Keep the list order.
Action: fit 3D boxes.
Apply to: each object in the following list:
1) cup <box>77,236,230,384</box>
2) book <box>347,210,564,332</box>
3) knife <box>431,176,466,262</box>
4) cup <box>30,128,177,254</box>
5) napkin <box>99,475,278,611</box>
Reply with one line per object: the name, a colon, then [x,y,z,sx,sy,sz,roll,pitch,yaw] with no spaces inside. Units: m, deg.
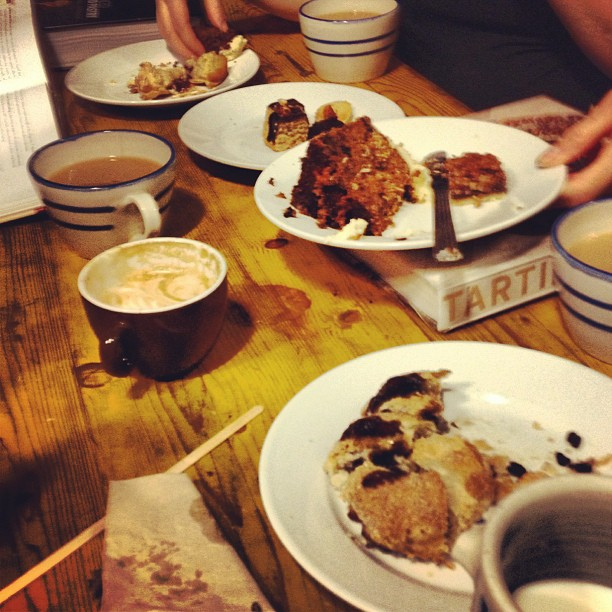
cup: [-0.128,0.010,0.719,0.181,0.108,0.168,1,41,-1]
book: [0.180,-0.039,0.720,0.197,0.035,0.167,-17,37,-21]
knife: [0.166,-0.112,0.752,0.039,0.011,0.113,-7,36,9]
cup: [-0.252,-0.145,0.836,0.175,0.091,0.183,0,47,0]
napkin: [-0.090,0.164,0.470,0.102,0.001,0.106,-1,32,-19]
